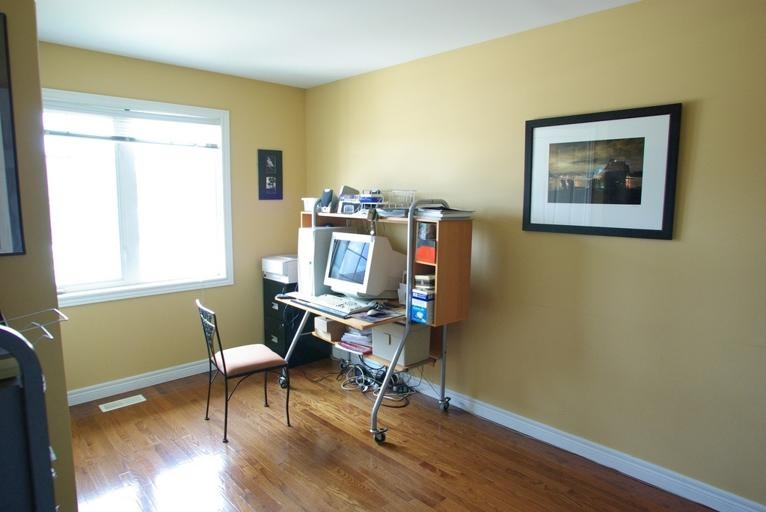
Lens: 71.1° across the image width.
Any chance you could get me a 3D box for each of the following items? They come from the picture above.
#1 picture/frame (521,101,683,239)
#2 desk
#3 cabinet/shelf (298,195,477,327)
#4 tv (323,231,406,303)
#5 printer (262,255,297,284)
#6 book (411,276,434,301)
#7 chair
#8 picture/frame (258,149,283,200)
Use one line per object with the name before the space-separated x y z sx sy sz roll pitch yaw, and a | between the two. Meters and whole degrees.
picture/frame | 1.564 -0.609 3.721 1.000 0.829 0.042 5 6 37
desk | -0.190 0.668 4.578 1.032 1.146 1.846 -3 7 -40
cabinet/shelf | 0.042 -0.023 4.650 0.571 0.939 1.472 -5 9 -44
tv | -0.124 0.043 4.680 0.591 0.581 0.565 -8 10 -36
printer | -1.000 0.123 5.296 0.242 0.229 0.444 -6 13 -35
book | 0.319 0.239 4.097 0.172 0.180 0.190 0 3 -34
chair | -1.117 0.882 4.312 0.661 0.992 0.541 -3 9 -28
picture/frame | -1.121 -0.810 5.388 0.288 0.493 0.004 -9 16 -42
